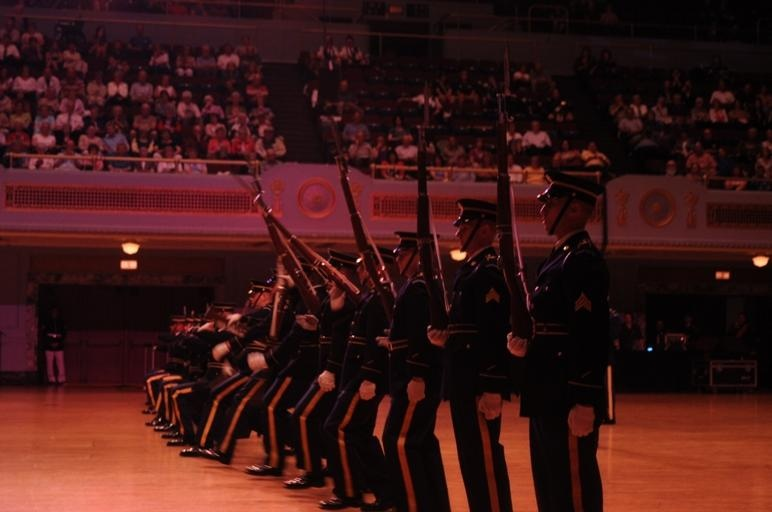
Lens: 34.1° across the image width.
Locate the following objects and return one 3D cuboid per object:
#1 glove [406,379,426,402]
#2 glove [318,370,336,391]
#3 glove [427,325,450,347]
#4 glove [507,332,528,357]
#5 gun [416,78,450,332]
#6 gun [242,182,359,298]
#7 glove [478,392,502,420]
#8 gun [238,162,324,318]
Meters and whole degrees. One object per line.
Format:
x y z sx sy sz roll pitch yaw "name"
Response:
0.494 2.209 20.875 0.290 0.403 0.318 -1 -3 2 "glove"
-1.038 2.171 22.143 0.307 0.371 0.377 -1 -3 -3 "glove"
0.854 1.292 20.606 0.344 0.245 0.294 4 -10 6 "glove"
2.074 1.413 19.898 0.288 0.375 0.154 18 23 28 "glove"
0.743 -0.786 20.791 0.464 4.042 0.986 -1 -2 2 "gun"
-1.739 -0.478 26.752 0.473 3.300 0.579 -43 -12 3 "gun"
1.684 2.421 20.411 0.375 0.424 0.180 -1 -3 -4 "glove"
-2.201 -0.515 27.027 0.693 3.780 0.631 -29 -15 17 "gun"
